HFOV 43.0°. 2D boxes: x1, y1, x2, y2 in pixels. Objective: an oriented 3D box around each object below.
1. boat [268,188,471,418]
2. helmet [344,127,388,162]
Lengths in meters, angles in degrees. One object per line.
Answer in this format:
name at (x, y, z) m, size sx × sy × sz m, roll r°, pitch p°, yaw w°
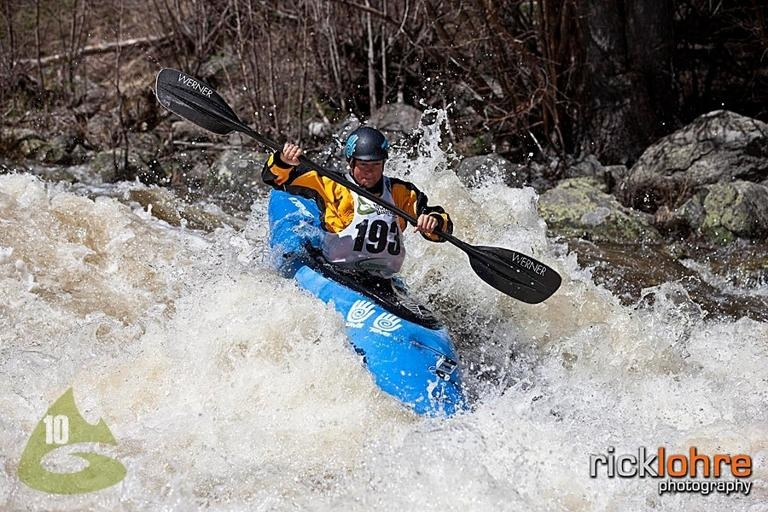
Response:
boat at (-0.027, 0.580, 8.893) m, size 0.911 × 0.642 × 3.037 m, roll -16°, pitch 57°, yaw -41°
helmet at (-0.147, -1.032, 9.320) m, size 0.368 × 0.380 × 0.491 m, roll -2°, pitch 19°, yaw -16°
